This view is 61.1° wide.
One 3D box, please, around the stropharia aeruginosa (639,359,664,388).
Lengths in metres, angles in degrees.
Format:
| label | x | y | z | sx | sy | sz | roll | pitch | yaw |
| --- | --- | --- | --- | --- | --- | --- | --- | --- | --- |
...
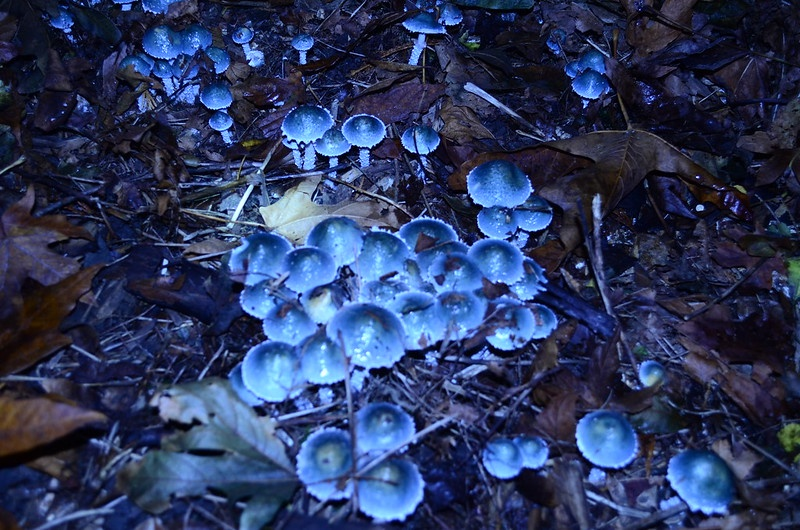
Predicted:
| label | x | y | z | sx | sy | sz | roll | pitch | yaw |
| --- | --- | --- | --- | --- | --- | --- | --- | --- | --- |
| stropharia aeruginosa | 2.962 | 1.281 | 8.037 | 0.272 | 0.176 | 0.293 | -16 | 64 | 0 |
